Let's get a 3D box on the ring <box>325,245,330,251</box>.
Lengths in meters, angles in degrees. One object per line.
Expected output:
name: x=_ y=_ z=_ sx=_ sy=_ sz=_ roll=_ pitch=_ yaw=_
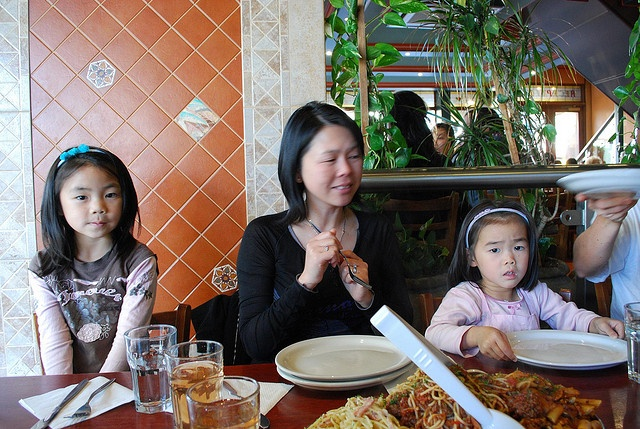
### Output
ring: x=0.027 y=0.127 z=1.781 sx=0.015 sy=0.017 sz=0.003 roll=-3 pitch=3 yaw=17

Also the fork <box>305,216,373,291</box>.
fork: x=0.072 y=0.171 z=1.949 sx=0.068 sy=0.387 sz=0.057 roll=-45 pitch=-12 yaw=18
